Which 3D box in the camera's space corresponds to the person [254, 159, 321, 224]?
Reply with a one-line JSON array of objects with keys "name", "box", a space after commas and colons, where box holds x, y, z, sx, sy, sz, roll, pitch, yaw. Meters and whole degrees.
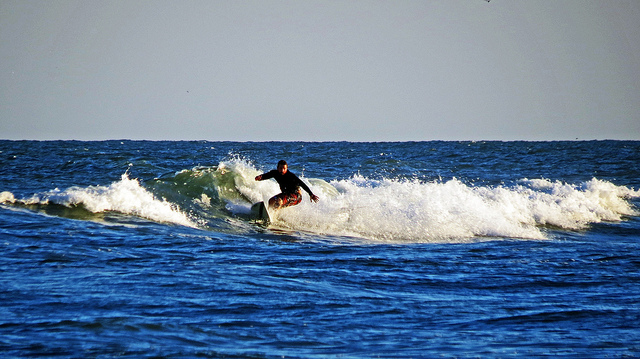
[{"name": "person", "box": [-1.132, 0.333, 25.831, 1.560, 1.952, 0.922, 1, 2, -3]}]

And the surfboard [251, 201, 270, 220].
[{"name": "surfboard", "box": [-1.888, 0.925, 25.887, 0.208, 0.535, 0.757, 0, 3, -43]}]
